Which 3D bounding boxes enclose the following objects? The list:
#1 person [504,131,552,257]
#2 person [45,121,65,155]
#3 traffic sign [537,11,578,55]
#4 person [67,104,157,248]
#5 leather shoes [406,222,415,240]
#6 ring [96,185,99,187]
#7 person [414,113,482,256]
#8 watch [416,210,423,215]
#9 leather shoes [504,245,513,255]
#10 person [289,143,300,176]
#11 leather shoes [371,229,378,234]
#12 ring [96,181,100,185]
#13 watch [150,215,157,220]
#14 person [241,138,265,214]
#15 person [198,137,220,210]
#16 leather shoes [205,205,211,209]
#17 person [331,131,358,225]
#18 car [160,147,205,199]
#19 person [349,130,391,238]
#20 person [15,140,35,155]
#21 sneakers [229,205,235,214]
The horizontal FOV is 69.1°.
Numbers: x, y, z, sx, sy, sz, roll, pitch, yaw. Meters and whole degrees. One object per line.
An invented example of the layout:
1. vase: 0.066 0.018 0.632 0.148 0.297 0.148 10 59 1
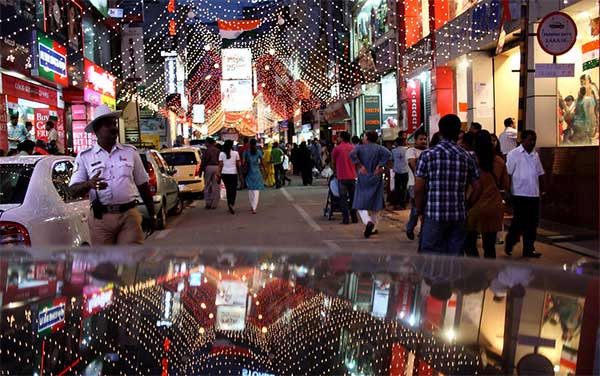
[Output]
1. person: 4.225 0.115 8.248 0.628 2.389 0.369 -1 8 21
2. person: -9.155 -1.740 16.109 0.364 1.027 0.322 6 18 27
3. traffic sign: 5.866 -3.588 10.007 0.867 0.963 0.270 -5 8 -9
4. person: -2.334 -0.135 5.421 0.959 1.815 0.698 -8 9 -28
5. leather shoes: 2.552 1.051 9.957 0.160 0.525 0.214 -1 23 2
6. ring: -2.340 -0.020 5.050 0.039 0.031 0.020 -6 9 -13
7. person: 1.920 0.001 5.720 0.900 1.897 0.586 -8 9 -28
8. watch: 1.620 0.333 5.881 0.067 0.052 0.071 -1 -8 -10
9. leather shoes: 4.062 1.219 8.467 0.169 0.173 0.178 0 -11 -2
10. person: -0.400 -2.213 33.292 0.716 2.572 0.725 -11 -23 35
11. leather shoes: 1.881 1.110 10.933 0.117 0.127 0.123 -1 -7 -8
12. ring: -2.333 -0.061 5.062 0.030 0.035 0.043 -4 9 0
13. watch: -1.918 0.381 5.669 0.054 0.044 0.056 -1 -10 -1
14. person: -1.577 -0.429 15.658 0.747 2.577 0.811 -1 2 25
15. person: -3.479 -0.614 16.874 0.745 2.689 1.144 -5 8 -13
16. leather shoes: -3.529 0.714 16.647 0.278 0.118 0.255 -4 10 4
17. person: 1.348 -0.349 12.898 0.841 2.720 0.702 -3 1 -42
18. car: -4.940 -0.838 18.983 1.475 1.389 2.599 -1 9 4
19. person: 1.764 -0.093 11.073 0.882 2.647 1.307 1 9 30
20. person: -6.409 -0.959 10.182 0.312 0.324 1.073 -9 11 -32
21. sneakers: -2.347 0.783 15.041 0.126 0.375 0.159 -5 14 -2
